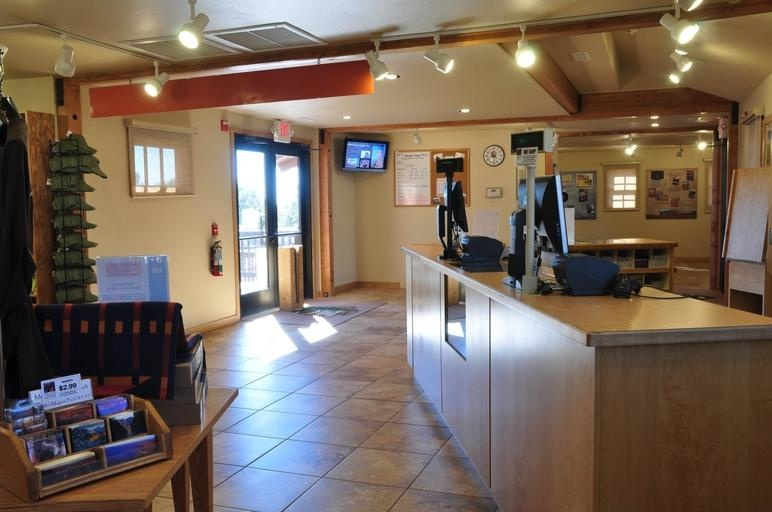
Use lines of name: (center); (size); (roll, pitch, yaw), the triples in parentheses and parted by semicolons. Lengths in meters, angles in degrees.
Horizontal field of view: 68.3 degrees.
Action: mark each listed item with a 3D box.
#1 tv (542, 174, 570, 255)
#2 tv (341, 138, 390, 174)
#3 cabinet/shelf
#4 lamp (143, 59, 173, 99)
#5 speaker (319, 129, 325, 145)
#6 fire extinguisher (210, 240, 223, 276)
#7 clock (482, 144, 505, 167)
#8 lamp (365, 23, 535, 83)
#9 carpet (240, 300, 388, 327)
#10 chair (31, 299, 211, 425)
tv: (1.072, -0.266, 3.658); (0.180, 0.492, 0.538); (-7, 2, 21)
tv: (-0.411, -1.901, 10.701); (0.735, 0.481, 0.094); (-1, 11, -23)
cabinet/shelf: (3.407, 0.194, 7.979); (0.848, 0.825, 1.505); (-11, 8, -41)
lamp: (-2.098, -1.644, 5.222); (0.196, 0.314, 0.133); (4, -15, -17)
speaker: (-1.126, -2.120, 10.125); (0.114, 0.252, 0.043); (0, 8, 1)
fire extinguisher: (-2.280, 0.040, 7.768); (0.122, 0.492, 0.245); (3, 8, 21)
clock: (2.019, -1.893, 10.607); (0.449, 0.424, 0.044); (-2, 10, 18)
lamp: (0.446, -1.770, 4.918); (1.225, 0.318, 0.229); (-4, 25, 15)
carpet: (-1.115, 0.879, 8.793); (1.547, 0.033, 1.862); (2, 8, 21)
chair: (-1.106, 0.404, 2.421); (0.604, 0.353, 0.582); (1, 5, 0)
